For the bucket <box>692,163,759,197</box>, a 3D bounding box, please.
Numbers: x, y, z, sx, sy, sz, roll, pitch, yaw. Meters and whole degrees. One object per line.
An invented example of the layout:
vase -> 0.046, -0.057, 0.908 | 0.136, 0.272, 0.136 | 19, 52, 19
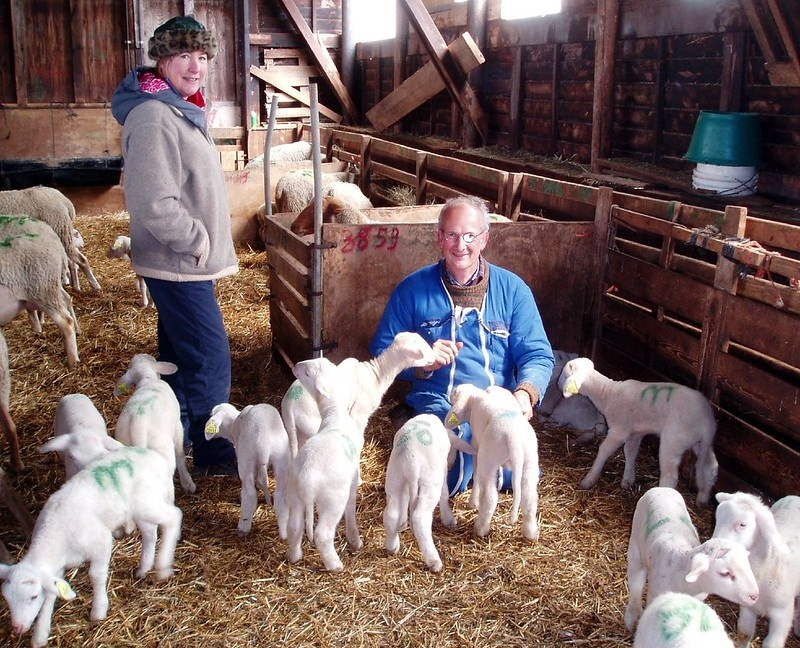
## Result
bucket -> 2.753, -1.238, 5.433 | 0.343, 0.377, 0.365 | 2, 18, -1

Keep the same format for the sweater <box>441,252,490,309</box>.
sweater -> 0.417, -0.259, 3.981 | 0.212, 0.220, 0.301 | -7, 31, 5

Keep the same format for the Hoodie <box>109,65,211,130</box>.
Hoodie -> -1.389, -1.255, 3.713 | 0.415, 0.255, 0.378 | 5, 34, 4

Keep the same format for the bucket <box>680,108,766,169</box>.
bucket -> 2.676, -1.502, 5.306 | 0.455, 0.332, 0.498 | 4, 21, -2
